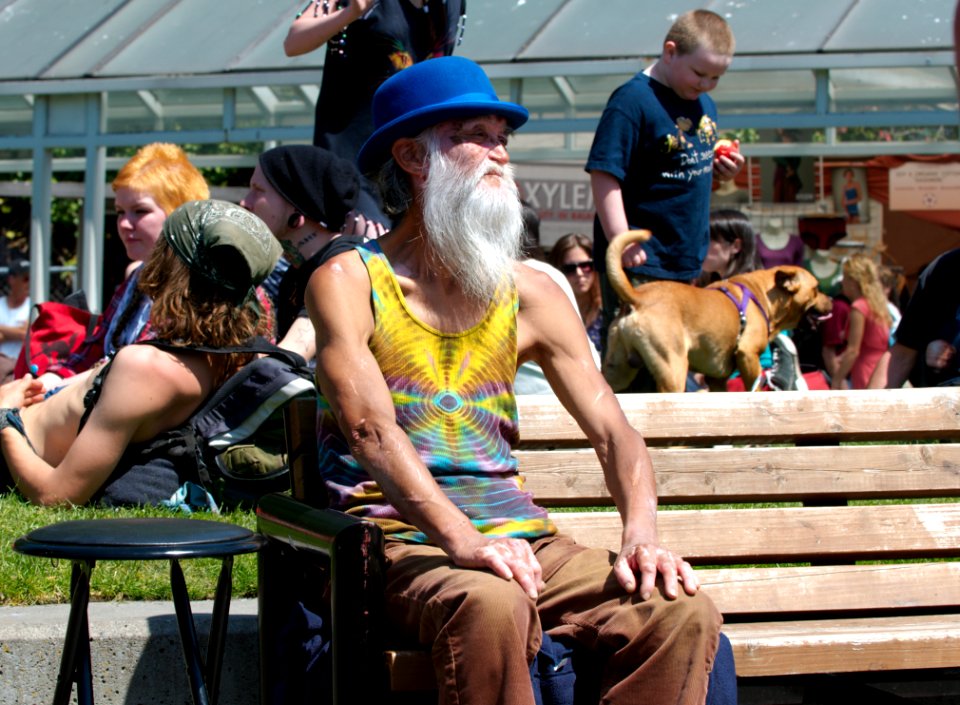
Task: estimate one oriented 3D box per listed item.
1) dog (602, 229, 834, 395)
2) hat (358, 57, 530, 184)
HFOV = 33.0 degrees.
[{"bbox_3d":[1.454,-0.198,10.094,1.586,1.221,0.529,-4,8,-27],"label":"dog"},{"bbox_3d":[-0.184,-1.041,7.393,0.530,0.217,0.484,-23,-4,-1],"label":"hat"}]
